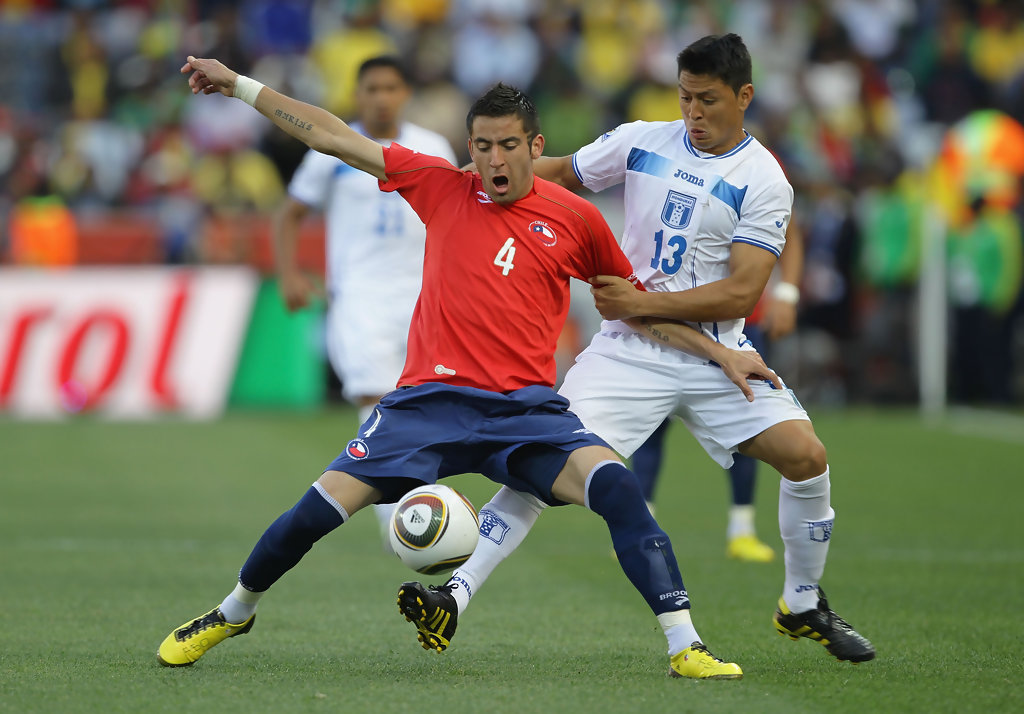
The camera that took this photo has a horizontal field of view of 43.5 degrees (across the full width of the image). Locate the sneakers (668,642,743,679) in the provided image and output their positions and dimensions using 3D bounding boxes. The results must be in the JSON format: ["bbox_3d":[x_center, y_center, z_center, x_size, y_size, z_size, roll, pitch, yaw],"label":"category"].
[{"bbox_3d":[0.878,1.370,5.782,0.331,0.159,0.133,0,-2,10],"label":"sneakers"}]

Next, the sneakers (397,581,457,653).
[{"bbox_3d":[-0.374,1.179,5.799,0.127,0.343,0.189,-27,14,34],"label":"sneakers"}]

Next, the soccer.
[{"bbox_3d":[-0.332,0.772,5.728,0.377,0.397,0.386,9,-15,3],"label":"soccer"}]
